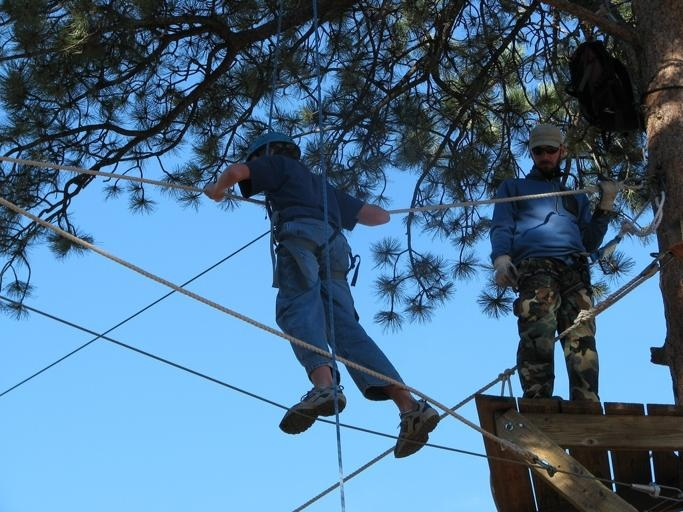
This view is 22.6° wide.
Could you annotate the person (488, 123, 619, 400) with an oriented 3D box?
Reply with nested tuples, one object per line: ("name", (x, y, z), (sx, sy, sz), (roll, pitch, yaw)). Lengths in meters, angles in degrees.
("person", (1.381, 0.063, 11.084), (0.814, 1.924, 0.751), (-2, -36, 4))

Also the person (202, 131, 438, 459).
("person", (-0.142, 0.145, 10.686), (0.808, 2.159, 1.352), (-26, -43, 32))

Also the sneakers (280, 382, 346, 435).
("sneakers", (-0.164, 0.880, 10.324), (0.510, 0.169, 0.216), (-18, -49, -47))

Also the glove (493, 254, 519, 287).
("glove", (1.060, 0.093, 11.079), (0.069, 0.217, 0.160), (-17, -43, -6))

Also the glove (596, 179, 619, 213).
("glove", (1.729, -0.392, 11.193), (0.065, 0.186, 0.150), (4, -1, 43))
